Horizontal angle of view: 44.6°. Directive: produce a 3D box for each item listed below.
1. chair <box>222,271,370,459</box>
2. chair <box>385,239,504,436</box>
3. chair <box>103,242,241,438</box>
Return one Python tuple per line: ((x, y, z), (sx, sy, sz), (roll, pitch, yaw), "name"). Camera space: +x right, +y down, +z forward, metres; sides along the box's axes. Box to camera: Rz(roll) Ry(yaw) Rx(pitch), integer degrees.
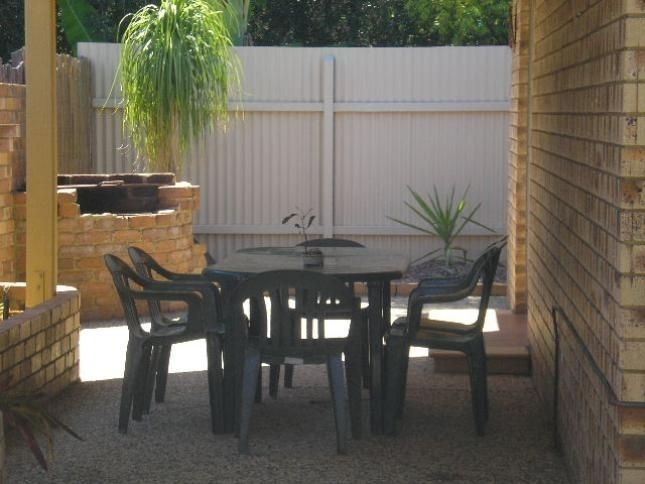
((-0.123, 0.680, 5.014), (0.820, 1.442, 0.922), (1, 5, 0), "chair")
((0.774, 0.576, 5.018), (0.708, 1.098, 0.806), (2, 10, 11), "chair")
((-0.836, 0.603, 5.465), (0.904, 1.608, 0.930), (1, 4, 4), "chair")
